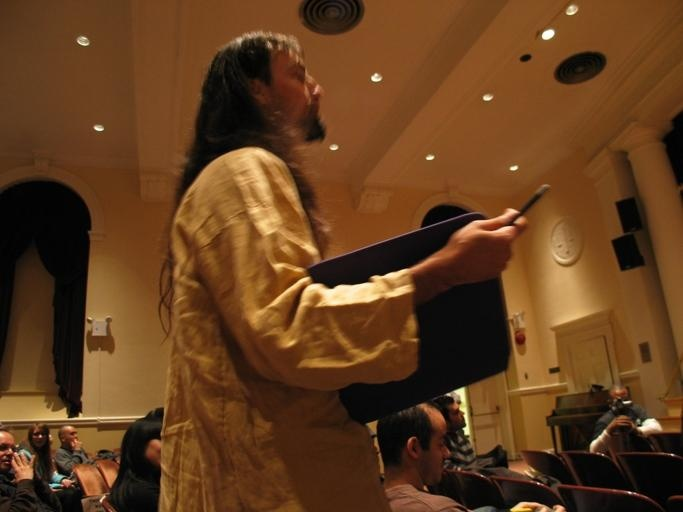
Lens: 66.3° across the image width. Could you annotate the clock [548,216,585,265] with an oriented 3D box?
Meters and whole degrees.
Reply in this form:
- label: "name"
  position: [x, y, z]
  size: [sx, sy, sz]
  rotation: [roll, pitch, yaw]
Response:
- label: "clock"
  position: [3.913, -0.278, 9.053]
  size: [0.105, 0.949, 0.765]
  rotation: [1, -2, -22]
